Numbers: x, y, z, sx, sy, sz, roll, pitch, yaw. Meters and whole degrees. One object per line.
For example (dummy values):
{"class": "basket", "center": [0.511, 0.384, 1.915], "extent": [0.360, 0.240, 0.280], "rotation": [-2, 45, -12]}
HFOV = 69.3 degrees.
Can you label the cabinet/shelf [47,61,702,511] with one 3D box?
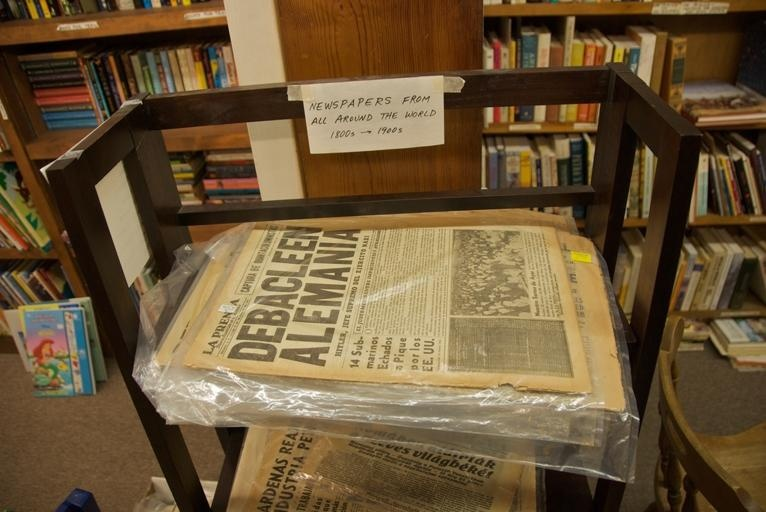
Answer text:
{"class": "cabinet/shelf", "center": [0.004, 0.092, 1.178], "extent": [1.118, 0.874, 0.456], "rotation": [-6, 28, -3]}
